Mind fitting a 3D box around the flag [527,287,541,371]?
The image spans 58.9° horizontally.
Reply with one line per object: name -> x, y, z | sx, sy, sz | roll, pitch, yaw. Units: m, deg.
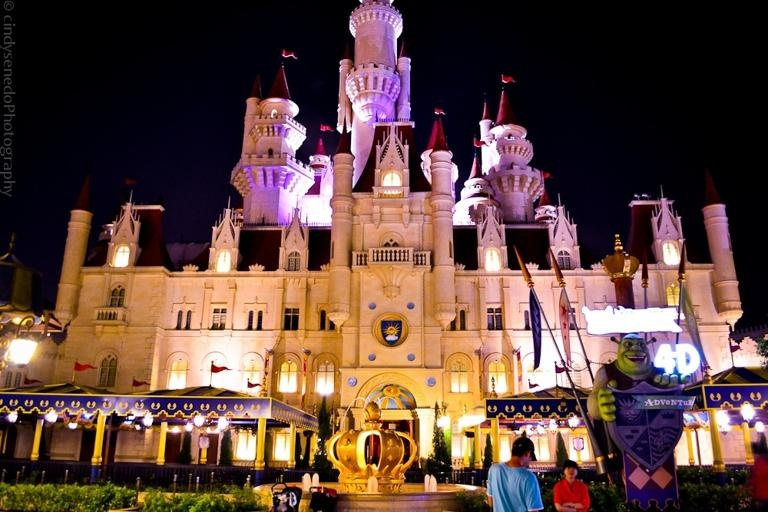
flag -> 5.389, 2.584, 24.202 | 0.133, 3.189, 0.591 | -3, -3, -27
